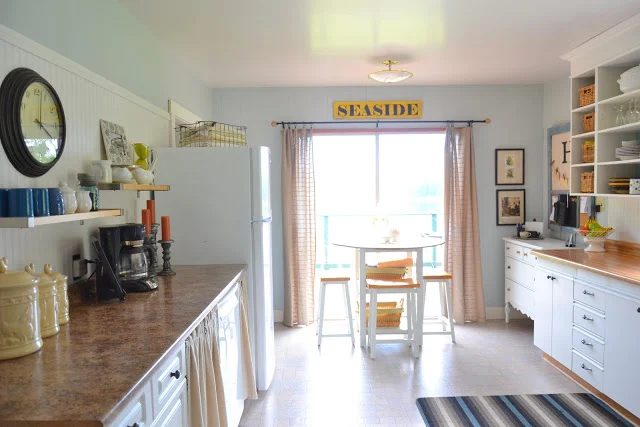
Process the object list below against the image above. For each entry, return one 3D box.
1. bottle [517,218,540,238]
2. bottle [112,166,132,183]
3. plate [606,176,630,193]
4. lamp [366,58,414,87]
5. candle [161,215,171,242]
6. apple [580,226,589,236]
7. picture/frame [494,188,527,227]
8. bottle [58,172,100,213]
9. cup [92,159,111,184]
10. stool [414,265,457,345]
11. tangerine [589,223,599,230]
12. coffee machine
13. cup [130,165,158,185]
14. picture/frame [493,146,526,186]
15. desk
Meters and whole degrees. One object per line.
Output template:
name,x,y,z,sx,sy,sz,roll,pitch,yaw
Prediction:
bottle,2.568,0.202,5.819,0.221,0.211,0.214,1,-2,11
bottle,-1.438,-0.277,3.451,0.129,0.117,0.126,1,-2,-25
plate,2.803,-0.224,4.452,0.143,0.159,0.248,0,-1,33
lamp,0.739,-1.474,4.974,0.310,0.146,0.309,-1,-1,27
candle,-1.272,0.132,3.934,0.085,0.228,0.309,-5,11,-18
apple,2.639,0.184,4.736,0.078,0.059,0.071,-1,3,-21
picture/frame,2.420,-0.090,5.999,0.522,0.645,0.030,0,1,-2
bottle,-1.602,-0.127,3.027,0.297,0.275,0.194,-1,-1,-9
cup,-1.508,-0.286,3.294,0.159,0.166,0.155,-1,-3,0
stool,1.285,1.042,5.353,0.462,0.719,0.480,0,7,7
tangerine,2.715,0.133,4.695,0.097,0.058,0.044,4,12,28
coffee machine,-1.383,0.319,3.388,0.390,0.442,0.312,-1,2,-4
cup,-1.367,-0.291,3.635,0.141,0.137,0.199,-3,10,-9
picture/frame,2.400,-0.601,5.994,0.530,0.622,0.029,0,1,-3
desk,0.784,0.864,5.181,1.069,1.173,0.976,2,11,14
